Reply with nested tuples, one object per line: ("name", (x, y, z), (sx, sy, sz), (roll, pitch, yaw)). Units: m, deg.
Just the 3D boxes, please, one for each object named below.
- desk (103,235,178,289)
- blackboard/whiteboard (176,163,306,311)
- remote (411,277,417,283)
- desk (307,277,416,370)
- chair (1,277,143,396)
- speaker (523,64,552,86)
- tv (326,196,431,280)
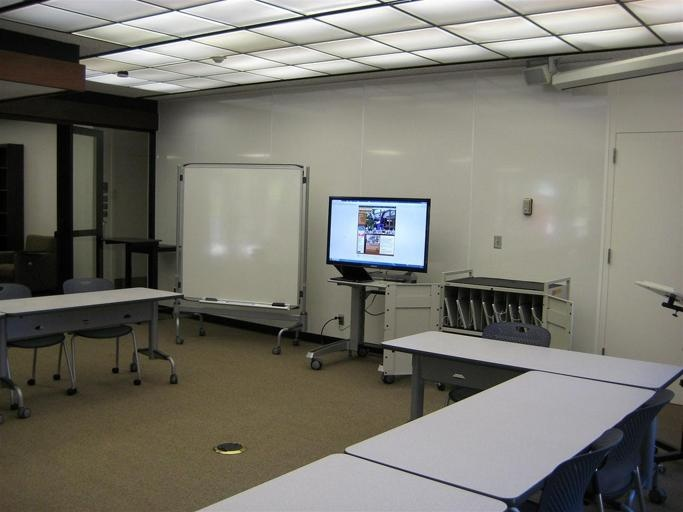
("desk", (-3.447, -0.044, 9.090), (1.277, 1.226, 0.856), (9, 11, 39))
("blackboard/whiteboard", (-1.314, -0.293, 7.454), (2.005, 2.019, 0.277), (1, 2, 20))
("remote", (0.854, 0.285, 6.369), (0.038, 0.065, 0.242), (3, 6, 15))
("desk", (0.185, 0.782, 6.876), (0.948, 1.433, 1.183), (0, 1, -43))
("chair", (-2.794, 0.900, 5.649), (1.098, 0.877, 0.463), (-1, 1, -43))
("speaker", (2.098, -1.873, 5.825), (0.328, 0.269, 0.183), (5, 50, 27))
("tv", (0.431, -0.222, 6.352), (0.946, 0.655, 0.043), (4, 1, 23))
